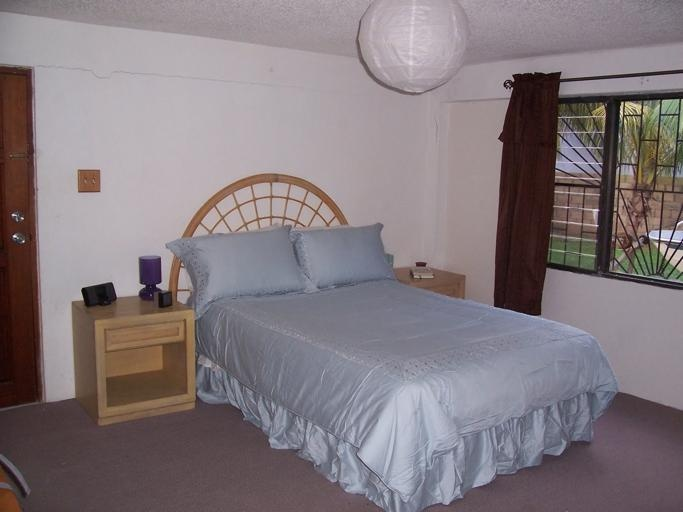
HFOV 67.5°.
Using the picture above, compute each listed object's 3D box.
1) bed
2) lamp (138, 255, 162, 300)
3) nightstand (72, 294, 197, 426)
[{"bbox_3d":[0.284,0.550,3.502,2.668,1.473,1.748,4,8,38],"label":"bed"},{"bbox_3d":[-1.486,0.172,3.907,0.191,0.320,0.155,-1,7,0],"label":"lamp"},{"bbox_3d":[-1.543,0.696,3.910,0.808,0.932,0.850,-3,5,-35],"label":"nightstand"}]
